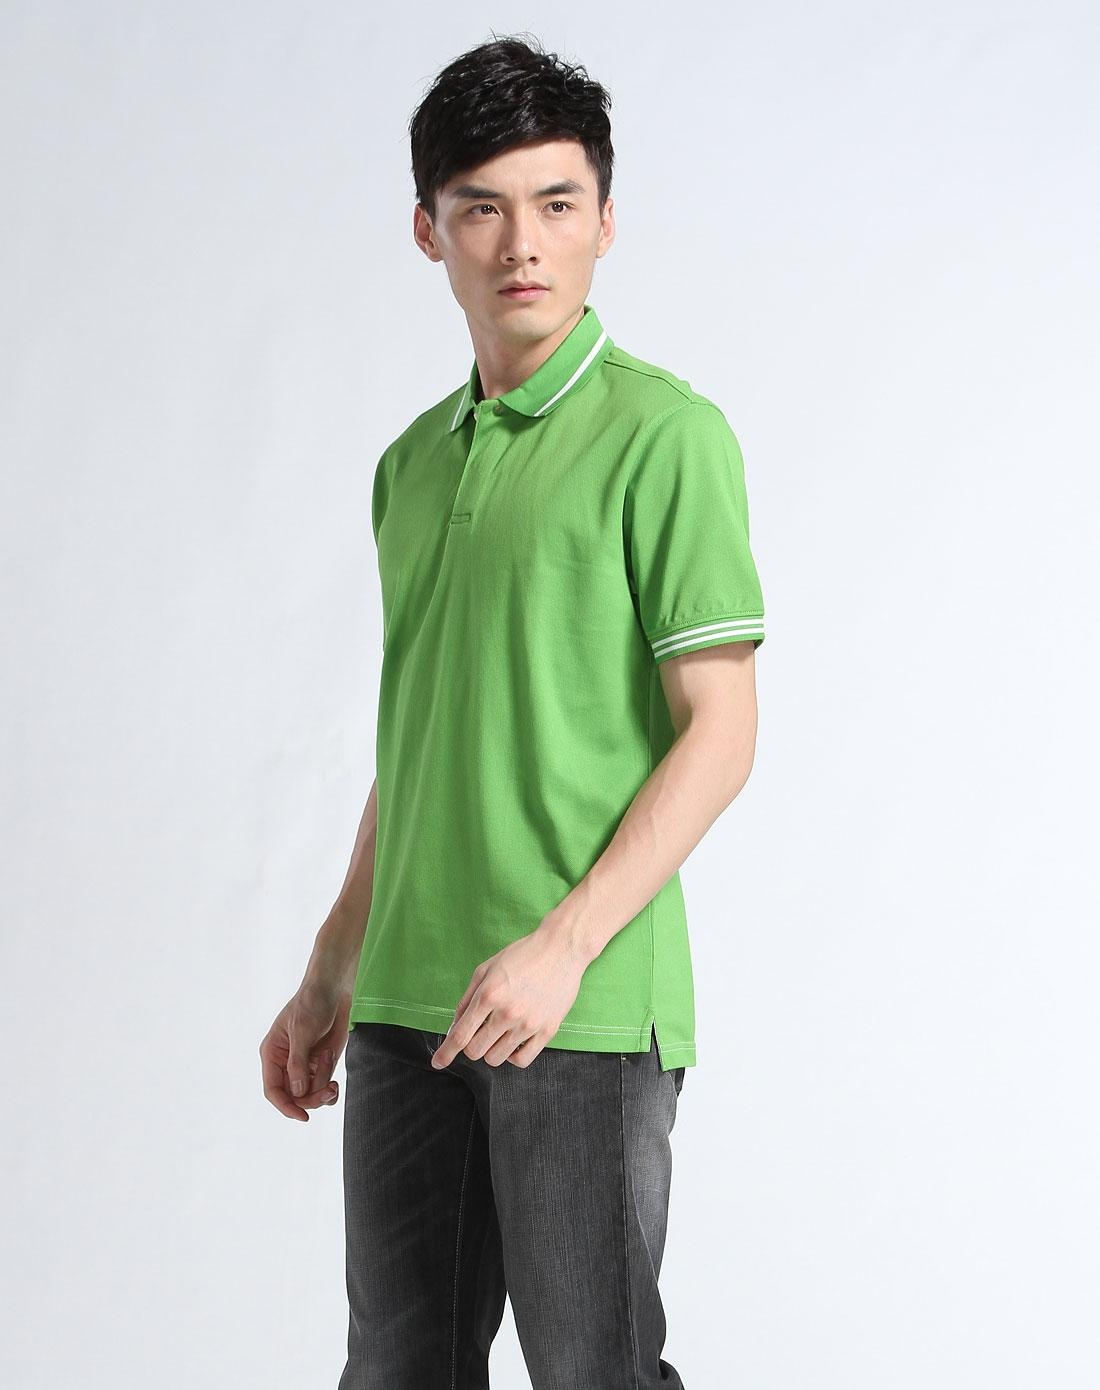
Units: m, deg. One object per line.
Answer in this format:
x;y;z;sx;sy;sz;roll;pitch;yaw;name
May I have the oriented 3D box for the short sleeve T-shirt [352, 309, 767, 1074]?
-0.008;-0.008;1.374;0.388;0.636;0.244;-4;-15;13;short sleeve T-shirt
